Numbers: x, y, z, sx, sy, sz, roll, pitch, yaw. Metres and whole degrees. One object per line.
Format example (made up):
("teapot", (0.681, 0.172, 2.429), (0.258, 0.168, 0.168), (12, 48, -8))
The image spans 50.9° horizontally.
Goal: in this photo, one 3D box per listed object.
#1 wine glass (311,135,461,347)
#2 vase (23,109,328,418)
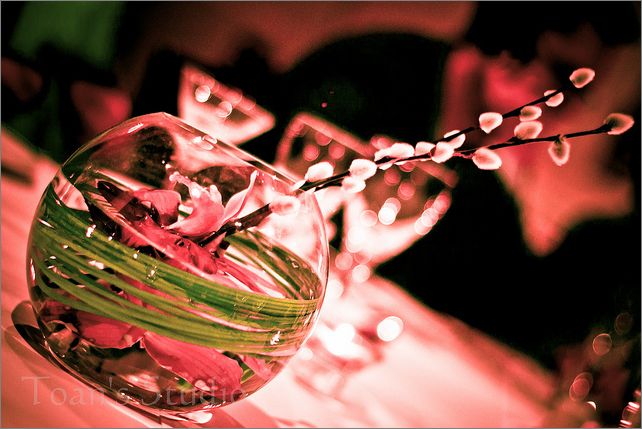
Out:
("wine glass", (0.130, 0.079, 1.616), (0.385, 0.582, 0.370), (6, -4, 1))
("vase", (-0.232, 0.075, 1.187), (0.476, 0.429, 0.466), (30, 0, -24))
